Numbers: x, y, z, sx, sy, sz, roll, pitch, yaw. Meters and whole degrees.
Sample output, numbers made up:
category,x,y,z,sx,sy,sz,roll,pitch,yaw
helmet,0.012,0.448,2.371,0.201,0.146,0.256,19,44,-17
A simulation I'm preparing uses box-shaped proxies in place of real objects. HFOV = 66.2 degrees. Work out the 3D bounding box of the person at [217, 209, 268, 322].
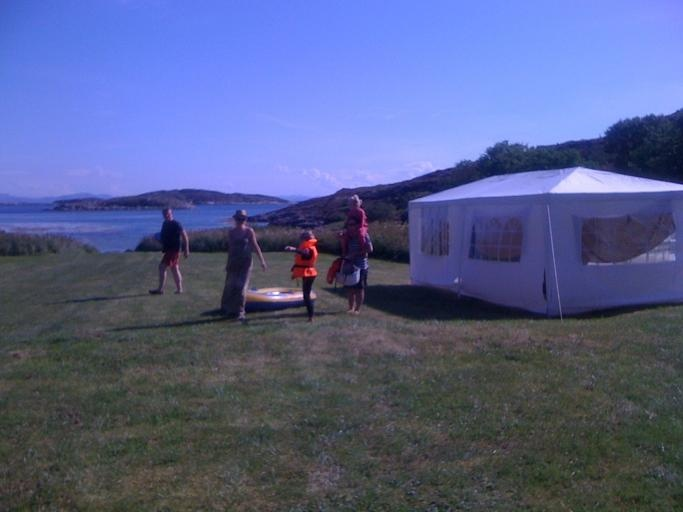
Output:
category,x,y,z,sx,sy,sz,roll,pitch,yaw
person,-1.925,0.166,9.981,0.767,2.073,0.763,-1,8,-15

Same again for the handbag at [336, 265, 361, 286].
category,x,y,z,sx,sy,sz,roll,pitch,yaw
handbag,0.127,0.361,10.325,0.457,0.517,0.351,0,-1,8

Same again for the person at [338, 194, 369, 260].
category,x,y,z,sx,sy,sz,roll,pitch,yaw
person,0.296,-0.599,10.438,0.453,1.205,0.702,-6,11,-40
